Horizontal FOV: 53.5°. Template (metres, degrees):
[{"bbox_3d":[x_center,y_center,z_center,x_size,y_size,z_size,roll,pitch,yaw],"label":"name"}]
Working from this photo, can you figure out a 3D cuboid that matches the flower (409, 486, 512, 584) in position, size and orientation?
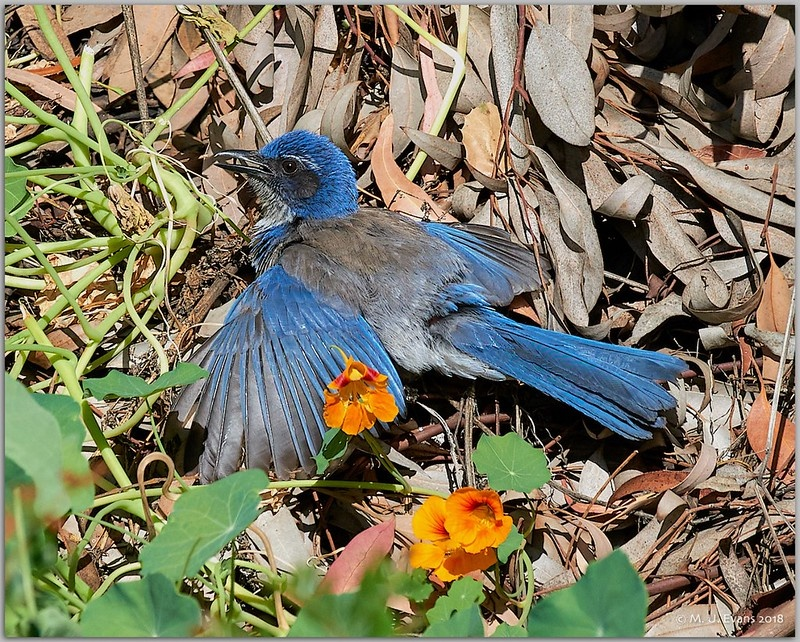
[{"bbox_3d":[0.252,0.732,2.905,0.364,0.187,0.427,-15,-28,-2],"label":"flower"}]

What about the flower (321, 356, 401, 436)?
[{"bbox_3d":[-0.124,0.243,2.893,0.249,0.267,0.339,-8,-9,3],"label":"flower"}]
